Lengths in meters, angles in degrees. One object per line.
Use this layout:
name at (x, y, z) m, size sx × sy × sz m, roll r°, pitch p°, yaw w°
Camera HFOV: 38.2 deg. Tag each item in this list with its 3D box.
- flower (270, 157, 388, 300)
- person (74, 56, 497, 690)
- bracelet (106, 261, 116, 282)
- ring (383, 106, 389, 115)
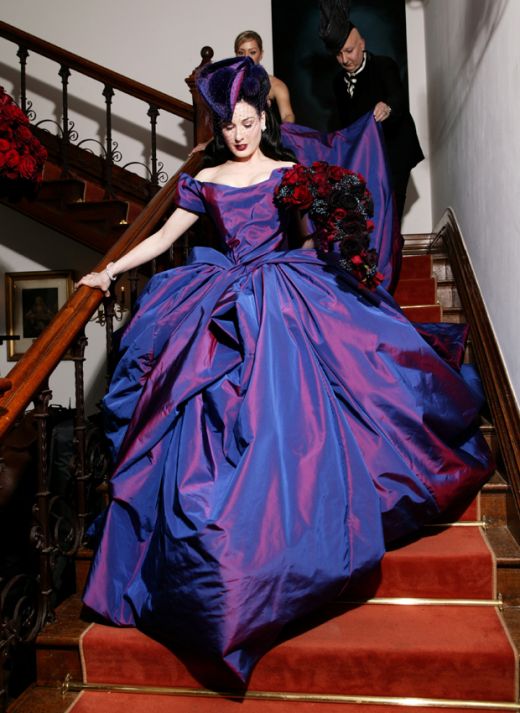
flower at (0.219, -0.366, 2.183) m, size 0.308 × 0.393 × 0.190 m, roll 5°, pitch 0°, yaw 22°
person at (0.043, -0.017, 2.383) m, size 1.246 × 1.685 × 1.079 m, roll -3°, pitch 1°, yaw -15°
bracelet at (-0.462, -0.263, 2.314) m, size 0.018 × 0.047 × 0.036 m, roll -4°, pitch -10°, yaw 4°
ring at (0.524, -1.011, 3.074) m, size 0.015 × 0.035 × 0.036 m, roll -3°, pitch 15°, yaw 19°
